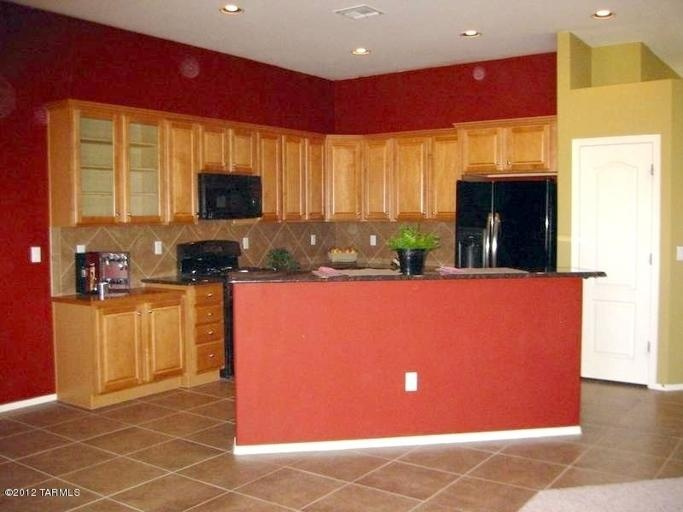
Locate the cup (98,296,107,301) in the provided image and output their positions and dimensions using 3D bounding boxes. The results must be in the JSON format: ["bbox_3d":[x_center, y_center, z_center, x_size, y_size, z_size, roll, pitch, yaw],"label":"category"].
[{"bbox_3d":[-2.240,0.394,5.196,0.047,0.028,0.047,1,1,0],"label":"cup"}]

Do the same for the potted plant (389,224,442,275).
[{"bbox_3d":[0.566,-0.036,4.494,0.351,0.338,0.326,-1,1,-41],"label":"potted plant"}]

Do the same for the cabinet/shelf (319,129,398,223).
[{"bbox_3d":[0.245,-1.061,7.445,0.906,1.111,0.234,0,6,4],"label":"cabinet/shelf"}]

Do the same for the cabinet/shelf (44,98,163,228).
[{"bbox_3d":[-2.334,-0.883,5.601,0.421,1.150,1.221,7,9,28],"label":"cabinet/shelf"}]

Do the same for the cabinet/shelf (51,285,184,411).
[{"bbox_3d":[-2.232,0.909,5.664,0.749,1.020,1.120,-2,0,33],"label":"cabinet/shelf"}]

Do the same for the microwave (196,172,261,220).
[{"bbox_3d":[-1.343,-0.684,6.407,0.811,0.474,0.453,-7,9,-43],"label":"microwave"}]

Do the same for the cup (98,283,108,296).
[{"bbox_3d":[-2.301,0.322,5.345,0.113,0.122,0.111,0,-2,0],"label":"cup"}]

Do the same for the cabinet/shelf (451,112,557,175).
[{"bbox_3d":[1.958,-1.290,6.550,1.166,0.636,0.294,5,14,38],"label":"cabinet/shelf"}]
